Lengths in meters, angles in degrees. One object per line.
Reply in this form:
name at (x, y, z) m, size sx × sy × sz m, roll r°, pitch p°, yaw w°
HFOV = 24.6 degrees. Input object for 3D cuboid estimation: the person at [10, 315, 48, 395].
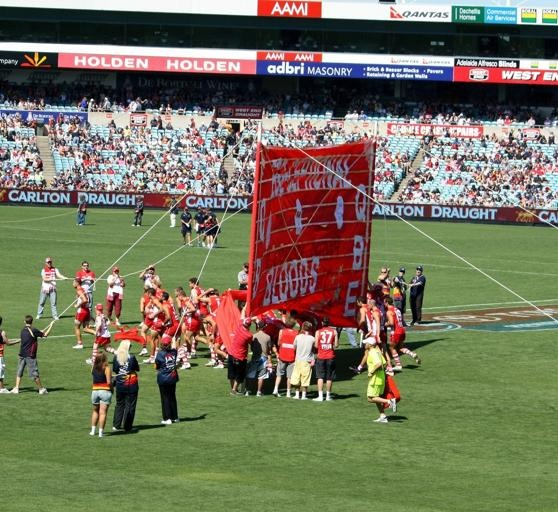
person at (-7.854, 3.096, 40.409) m, size 1.129 × 2.545 × 0.906 m, roll 1°, pitch 14°, yaw -6°

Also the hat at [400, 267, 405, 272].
hat at (4.786, 0.529, 50.666) m, size 0.239 × 0.290 × 0.279 m, roll -1°, pitch -4°, yaw 5°

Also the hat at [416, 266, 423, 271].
hat at (5.553, 0.481, 51.501) m, size 0.248 × 0.141 × 0.335 m, roll 8°, pitch -25°, yaw 10°

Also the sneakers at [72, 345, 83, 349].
sneakers at (-7.095, 3.187, 44.956) m, size 0.380 × 0.156 × 0.131 m, roll 3°, pitch 6°, yaw 39°

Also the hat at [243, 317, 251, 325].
hat at (-1.059, 2.116, 41.055) m, size 0.212 × 0.248 × 0.341 m, roll 2°, pitch 14°, yaw -2°

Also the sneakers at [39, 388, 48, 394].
sneakers at (-7.492, 4.288, 40.565) m, size 0.133 × 0.121 × 0.296 m, roll 1°, pitch 6°, yaw 6°

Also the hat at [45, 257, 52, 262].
hat at (-9.316, 0.144, 51.678) m, size 0.260 × 0.219 × 0.421 m, roll 1°, pitch 2°, yaw -16°

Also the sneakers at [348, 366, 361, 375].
sneakers at (2.490, 3.886, 43.435) m, size 0.325 × 0.106 × 0.217 m, roll 34°, pitch -1°, yaw -21°

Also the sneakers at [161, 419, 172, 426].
sneakers at (-3.430, 5.042, 38.827) m, size 0.354 × 0.130 × 0.116 m, roll 4°, pitch 7°, yaw 8°
